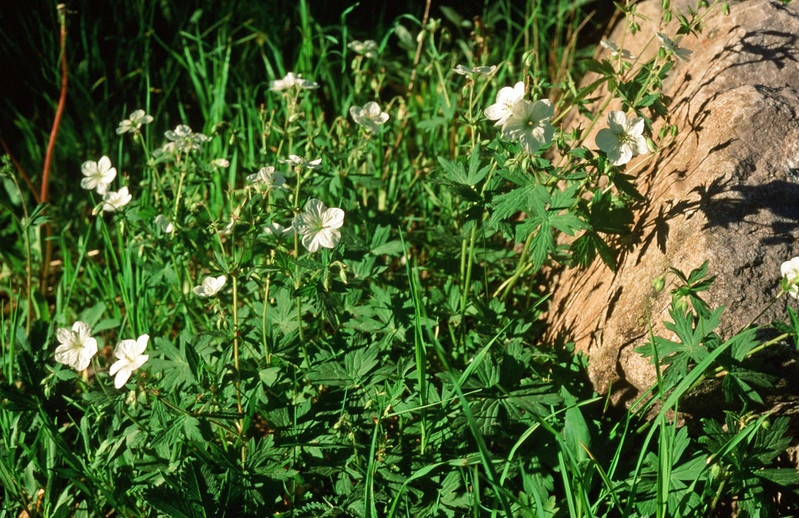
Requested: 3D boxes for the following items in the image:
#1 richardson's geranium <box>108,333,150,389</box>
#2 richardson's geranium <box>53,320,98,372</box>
[{"bbox_3d":[-1.512,0.576,4.617,0.240,0.133,0.310,-12,61,13],"label":"richardson's geranium"},{"bbox_3d":[-1.865,0.503,4.715,0.233,0.301,0.112,-12,-2,-7],"label":"richardson's geranium"}]
